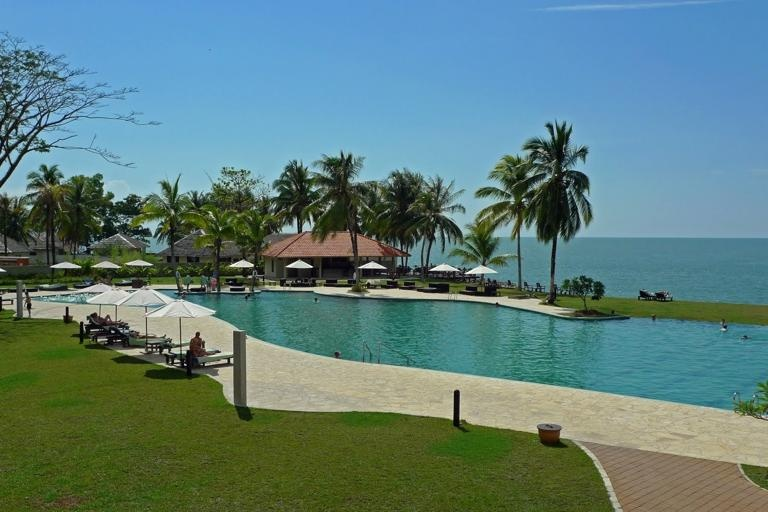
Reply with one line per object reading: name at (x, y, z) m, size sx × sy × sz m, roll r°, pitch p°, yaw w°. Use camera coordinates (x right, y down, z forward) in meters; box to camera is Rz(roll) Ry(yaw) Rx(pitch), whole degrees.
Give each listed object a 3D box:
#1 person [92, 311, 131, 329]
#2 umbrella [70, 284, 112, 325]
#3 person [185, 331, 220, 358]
person at (-13.719, 3.268, 29.024) m, size 1.628 × 0.565 × 1.115 m, roll 0°, pitch -3°, yaw 26°
umbrella at (-16.719, 2.874, 33.643) m, size 2.375 × 1.515 × 2.283 m, roll 0°, pitch 2°, yaw -11°
person at (-7.746, 3.746, 24.526) m, size 0.730 × 1.057 × 1.555 m, roll 1°, pitch 3°, yaw 15°
